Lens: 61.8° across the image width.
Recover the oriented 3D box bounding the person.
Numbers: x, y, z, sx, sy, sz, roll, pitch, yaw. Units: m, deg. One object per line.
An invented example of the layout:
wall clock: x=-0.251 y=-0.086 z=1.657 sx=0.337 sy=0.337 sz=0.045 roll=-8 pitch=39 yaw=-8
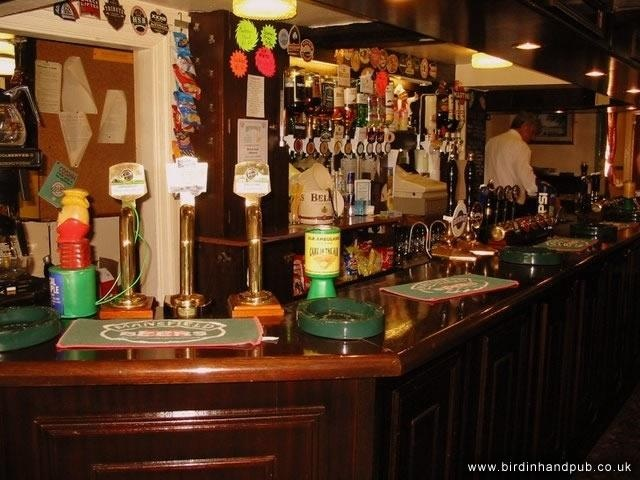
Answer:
person: x=2.292 y=-1.020 z=6.412 sx=0.570 sy=0.988 sz=0.731 roll=2 pitch=10 yaw=18

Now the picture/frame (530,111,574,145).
picture/frame: x=4.552 y=-2.210 z=10.479 sx=0.730 sy=0.717 sz=0.055 roll=3 pitch=-9 yaw=10

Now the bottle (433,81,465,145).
bottle: x=1.445 y=-1.402 z=5.993 sx=0.329 sy=0.648 sz=0.475 roll=4 pitch=11 yaw=29

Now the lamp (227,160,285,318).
lamp: x=-0.244 y=-0.002 z=1.948 sx=0.187 sy=0.552 sz=0.227 roll=-3 pitch=9 yaw=-10

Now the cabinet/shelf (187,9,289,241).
cabinet/shelf: x=-0.397 y=-0.785 z=3.991 sx=0.671 sy=1.561 sz=0.357 roll=18 pitch=26 yaw=33

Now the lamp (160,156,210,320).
lamp: x=-0.489 y=-0.011 z=1.943 sx=0.163 sy=0.568 sz=0.135 roll=-1 pitch=9 yaw=-1

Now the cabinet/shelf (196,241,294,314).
cabinet/shelf: x=-0.547 y=0.168 z=3.968 sx=0.369 sy=0.451 sz=0.489 roll=-2 pitch=10 yaw=36
